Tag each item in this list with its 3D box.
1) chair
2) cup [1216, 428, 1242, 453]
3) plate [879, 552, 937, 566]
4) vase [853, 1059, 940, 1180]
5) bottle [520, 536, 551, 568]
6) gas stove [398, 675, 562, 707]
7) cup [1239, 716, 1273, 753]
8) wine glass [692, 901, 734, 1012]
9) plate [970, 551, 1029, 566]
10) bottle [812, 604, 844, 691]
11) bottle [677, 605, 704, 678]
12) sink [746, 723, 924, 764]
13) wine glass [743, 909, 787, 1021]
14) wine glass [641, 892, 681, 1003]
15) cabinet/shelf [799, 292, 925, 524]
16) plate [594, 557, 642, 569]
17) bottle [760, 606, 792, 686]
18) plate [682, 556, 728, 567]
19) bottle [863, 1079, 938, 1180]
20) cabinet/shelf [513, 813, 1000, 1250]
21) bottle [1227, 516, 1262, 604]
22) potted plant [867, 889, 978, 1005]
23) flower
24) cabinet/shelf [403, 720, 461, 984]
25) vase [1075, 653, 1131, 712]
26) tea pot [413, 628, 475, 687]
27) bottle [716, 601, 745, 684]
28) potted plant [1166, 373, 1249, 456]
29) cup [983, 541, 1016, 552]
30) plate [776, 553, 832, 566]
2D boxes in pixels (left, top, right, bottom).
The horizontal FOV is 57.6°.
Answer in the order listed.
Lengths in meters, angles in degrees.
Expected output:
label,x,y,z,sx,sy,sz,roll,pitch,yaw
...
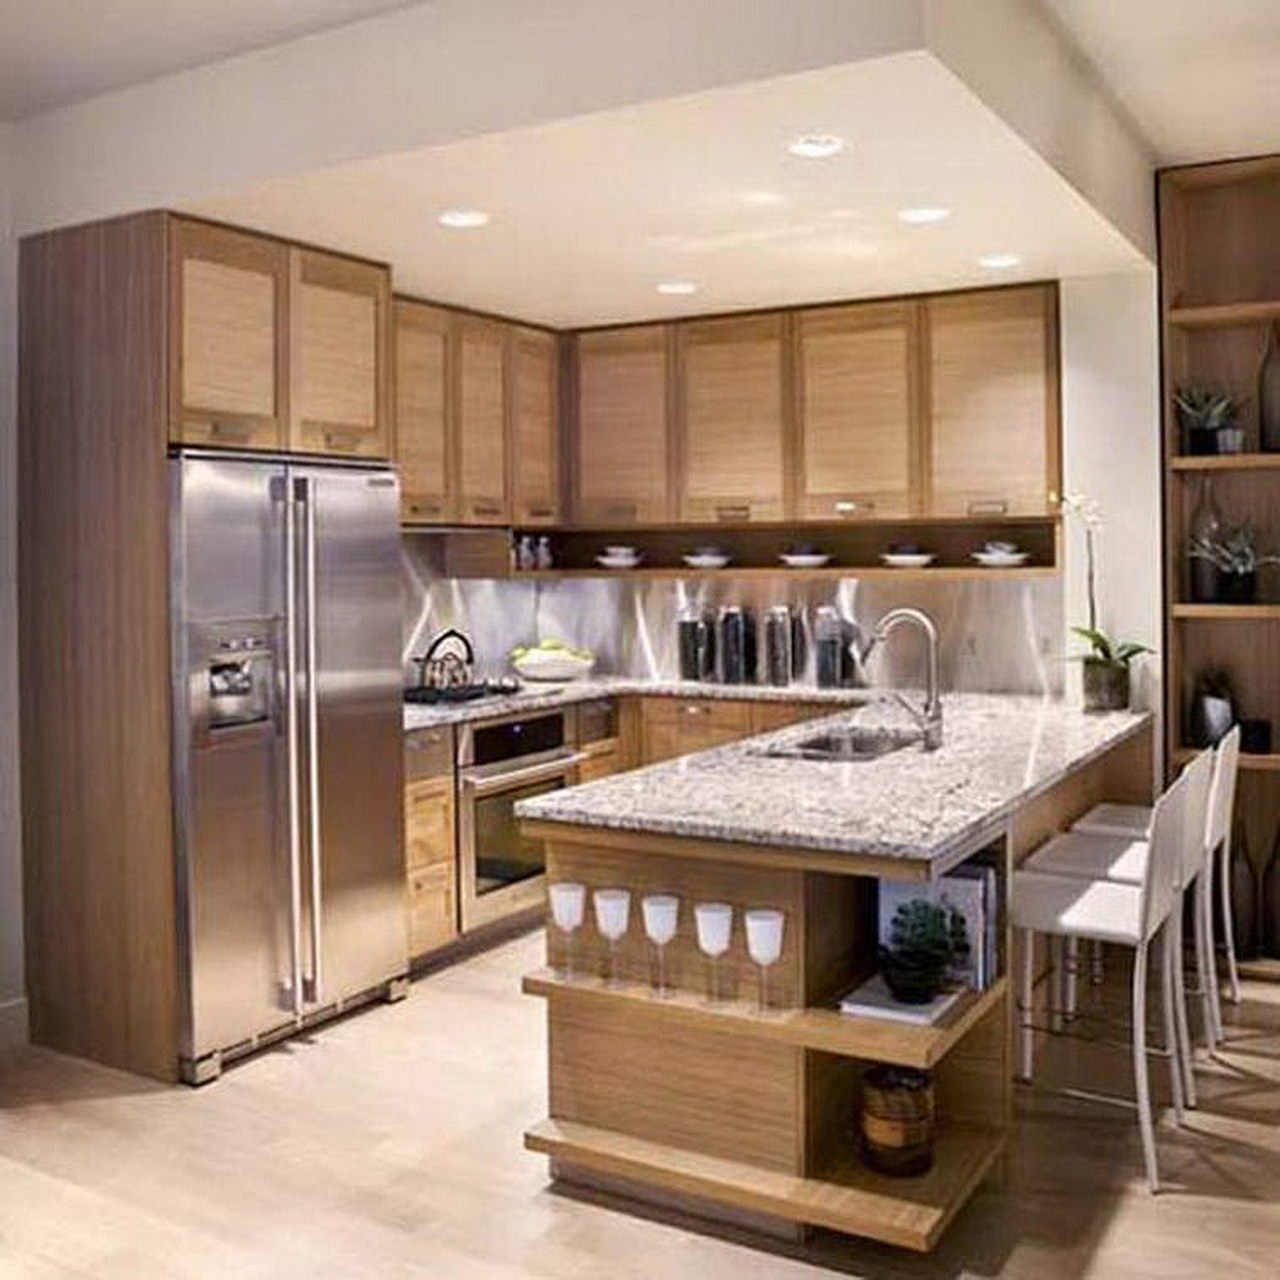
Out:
label,x,y,z,sx,sy,sz,roll,pitch,yaw
chair,1.322,0.899,3.210,0.337,0.678,0.895,2,6,26
cup,2.113,-0.714,4.174,0.075,0.106,0.102,1,3,41
plate,1.116,-0.340,4.867,0.215,0.067,0.295,-1,2,14
vase,0.541,1.014,2.461,0.144,0.164,0.149,-2,-2,33
bottle,-0.495,-0.402,5.465,0.136,0.188,0.082,0,5,-4
gas stove,-0.714,0.203,4.751,0.493,0.063,0.514,-2,2,-10
cup,2.216,0.336,4.190,0.102,0.088,0.113,2,5,21
wine glass,0.152,0.642,2.420,0.078,0.233,0.236,-1,2,3
plate,1.440,-0.325,4.676,0.211,0.062,0.277,-1,2,17
bottle,0.809,0.022,5.039,0.124,0.349,0.132,-1,2,0
bottle,0.213,0.006,5.325,0.087,0.334,0.245,-2,2,-18
sink,0.613,0.332,3.603,0.283,0.098,0.596,1,3,40
wine glass,0.251,0.643,2.364,0.085,0.229,0.201,-1,2,5
wine glass,0.044,0.641,2.480,0.085,0.238,0.259,-1,2,-1
cabinet/shelf,0.929,-0.892,4.972,0.605,0.867,0.603,0,-1,-6
plate,-0.106,-0.361,5.469,0.186,0.056,0.168,-1,2,-4
bottle,0.600,0.022,5.097,0.141,0.458,0.331,1,2,14
plate,0.301,-0.354,5.290,0.184,0.063,0.205,-1,2,3
bottle,0.544,1.007,2.469,0.156,0.177,0.161,2,5,30
cabinet/shelf,0.315,0.833,2.657,1.164,0.912,0.801,2,6,29
bottle,2.199,-0.290,4.229,0.105,0.296,0.224,0,3,33
potted plant,0.586,0.643,2.431,0.188,0.202,0.290,0,2,19
flower,1.717,-0.227,4.320,0.321,0.653,0.259,1,3,38
cabinet/shelf,-0.732,0.694,4.114,0.087,0.794,0.290,0,3,22
vase,1.690,0.156,4.335,0.184,0.204,0.175,-3,5,-19
tea pot,-0.818,0.081,4.970,0.170,0.285,0.281,3,4,6
bottle,0.394,0.013,5.227,0.101,0.341,0.205,-2,3,-21
potted plant,2.053,-0.787,4.251,0.287,0.294,0.251,2,-4,-33
cup,1.448,-0.380,4.673,0.115,0.054,0.219,-1,2,18
plate,0.723,-0.356,5.072,0.163,0.072,0.232,0,2,24
